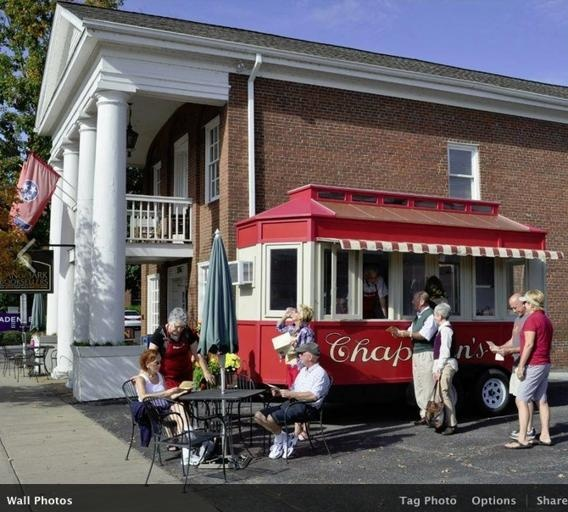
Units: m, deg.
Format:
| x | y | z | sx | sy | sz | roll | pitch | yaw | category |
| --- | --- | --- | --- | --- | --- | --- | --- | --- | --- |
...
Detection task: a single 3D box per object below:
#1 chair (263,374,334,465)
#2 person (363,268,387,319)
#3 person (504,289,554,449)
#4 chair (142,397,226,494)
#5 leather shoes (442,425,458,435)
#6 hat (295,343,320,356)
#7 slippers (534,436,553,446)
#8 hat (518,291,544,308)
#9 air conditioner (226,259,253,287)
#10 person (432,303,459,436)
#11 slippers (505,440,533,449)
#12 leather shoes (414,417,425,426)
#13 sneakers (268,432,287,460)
| x | y | z | sx | sy | sz | roll | pitch | yaw | category |
| --- | --- | --- | --- | --- | --- | --- | --- | --- | --- |
| 0.135 | 2.080 | 12.565 | 0.984 | 1.631 | 0.827 | 6 | -5 | -25 | chair |
| 1.632 | 0.637 | 15.056 | 0.522 | 0.870 | 0.187 | -1 | 1 | -39 | person |
| 3.717 | 1.683 | 12.916 | 0.711 | 2.319 | 0.407 | -1 | 1 | -32 | person |
| -1.332 | 2.552 | 11.934 | 0.947 | 1.571 | 1.149 | -2 | -1 | 43 | chair |
| 2.689 | 2.789 | 13.907 | 0.278 | 0.120 | 0.090 | 11 | -12 | -43 | leather shoes |
| 0.355 | 1.344 | 12.578 | 0.275 | 0.141 | 0.185 | 2 | -4 | 15 | hat |
| 3.942 | 2.781 | 13.051 | 0.128 | 0.130 | 0.323 | -1 | 5 | -14 | slippers |
| 3.790 | 0.645 | 13.091 | 0.226 | 0.162 | 0.298 | -10 | 19 | -30 | hat |
| -0.782 | 0.262 | 15.187 | 0.353 | 0.549 | 0.631 | -2 | 1 | -25 | air conditioner |
| 2.626 | 1.816 | 14.039 | 0.409 | 2.057 | 0.460 | 1 | 1 | 25 | person |
| 3.518 | 2.792 | 12.839 | 0.303 | 0.100 | 0.165 | 1 | -2 | 11 | slippers |
| 2.343 | 2.800 | 14.702 | 0.211 | 0.095 | 0.082 | 0 | -1 | 31 | leather shoes |
| -0.076 | 2.727 | 12.435 | 0.131 | 0.408 | 0.273 | 2 | -32 | 47 | sneakers |
